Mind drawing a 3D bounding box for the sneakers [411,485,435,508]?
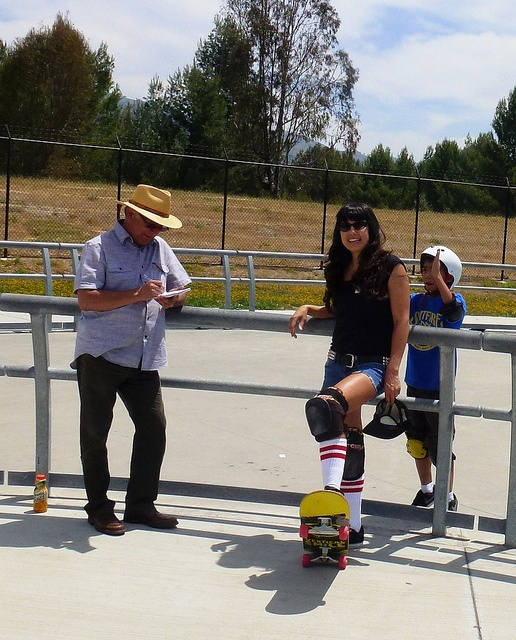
[{"bbox_3d":[0.866,0.906,5.048,0.076,0.106,0.238,-1,0,28],"label":"sneakers"}]

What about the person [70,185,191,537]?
[{"bbox_3d":[-0.578,0.165,4.463,0.535,1.568,0.465,0,6,-16],"label":"person"}]

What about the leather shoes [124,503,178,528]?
[{"bbox_3d":[-0.504,0.911,4.548,0.252,0.133,0.100,6,4,7],"label":"leather shoes"}]

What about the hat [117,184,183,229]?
[{"bbox_3d":[-0.491,-0.529,4.395,0.227,0.102,0.202,34,15,18],"label":"hat"}]

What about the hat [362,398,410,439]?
[{"bbox_3d":[0.577,0.456,4.268,0.131,0.121,0.210,12,21,28],"label":"hat"}]

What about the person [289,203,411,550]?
[{"bbox_3d":[0.407,0.060,4.290,0.527,1.147,0.884,2,6,1],"label":"person"}]

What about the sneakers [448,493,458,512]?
[{"bbox_3d":[0.994,0.930,4.932,0.054,0.072,0.173,-5,3,16],"label":"sneakers"}]

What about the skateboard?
[{"bbox_3d":[0.273,0.793,3.862,0.175,0.486,0.078,-8,-38,17],"label":"skateboard"}]

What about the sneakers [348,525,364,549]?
[{"bbox_3d":[0.445,0.965,4.327,0.040,0.092,0.146,5,7,26],"label":"sneakers"}]

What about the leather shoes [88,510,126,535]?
[{"bbox_3d":[-0.676,0.905,4.378,0.195,0.097,0.073,0,3,45],"label":"leather shoes"}]

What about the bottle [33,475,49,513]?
[{"bbox_3d":[-1.040,0.817,4.638,0.068,0.171,0.184,1,6,-14],"label":"bottle"}]

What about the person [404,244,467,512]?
[{"bbox_3d":[0.917,0.325,5.022,0.309,1.403,0.844,3,6,9],"label":"person"}]
